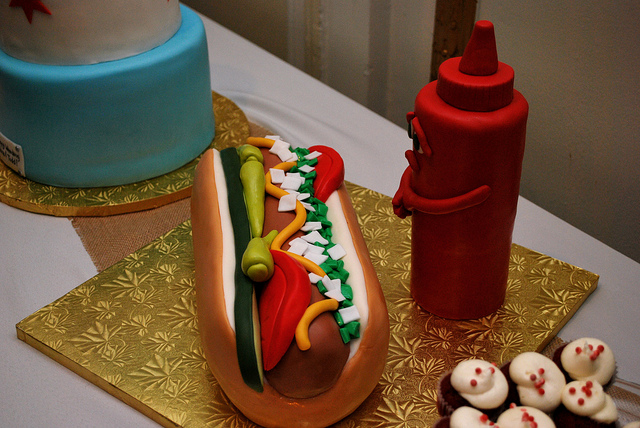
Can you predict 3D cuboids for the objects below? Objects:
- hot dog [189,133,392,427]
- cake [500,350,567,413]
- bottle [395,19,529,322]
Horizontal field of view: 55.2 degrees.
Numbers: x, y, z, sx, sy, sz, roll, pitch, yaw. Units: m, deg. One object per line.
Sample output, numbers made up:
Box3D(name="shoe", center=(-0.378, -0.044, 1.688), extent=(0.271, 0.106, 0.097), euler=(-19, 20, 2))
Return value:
Box3D(name="hot dog", center=(-0.079, 0.152, 1.331), extent=(0.320, 0.272, 0.748), euler=(-3, 45, -11))
Box3D(name="cake", center=(0.435, 0.339, 1.233), extent=(0.110, 0.077, 0.094), euler=(10, 47, 14))
Box3D(name="bottle", center=(0.333, -0.069, 1.413), extent=(0.303, 0.640, 0.296), euler=(-2, 43, 2))
